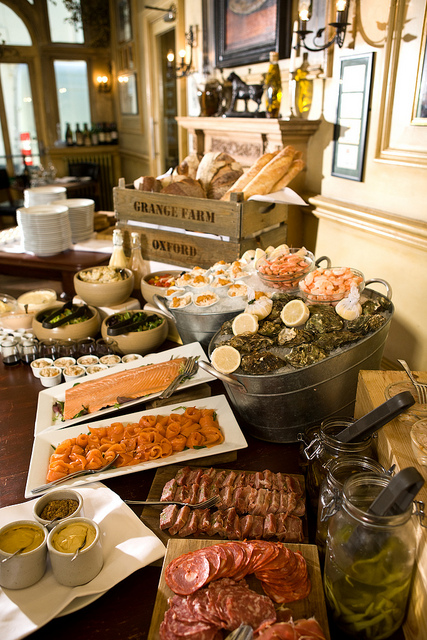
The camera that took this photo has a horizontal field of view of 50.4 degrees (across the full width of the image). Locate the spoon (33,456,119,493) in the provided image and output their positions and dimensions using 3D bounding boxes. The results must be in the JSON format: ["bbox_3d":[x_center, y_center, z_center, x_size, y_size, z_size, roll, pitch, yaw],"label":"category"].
[{"bbox_3d":[-0.287,0.328,0.960,0.142,0.021,0.025,-18,8,-22],"label":"spoon"}]

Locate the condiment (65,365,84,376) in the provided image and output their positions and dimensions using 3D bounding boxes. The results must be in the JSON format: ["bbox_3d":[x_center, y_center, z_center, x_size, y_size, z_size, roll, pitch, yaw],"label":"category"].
[{"bbox_3d":[-0.440,0.153,1.430,0.032,0.014,0.033,3,16,0],"label":"condiment"}]

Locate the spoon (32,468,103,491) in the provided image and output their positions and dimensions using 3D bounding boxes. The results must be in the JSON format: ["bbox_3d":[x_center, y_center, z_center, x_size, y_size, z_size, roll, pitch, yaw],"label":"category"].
[{"bbox_3d":[-0.304,0.332,0.945,0.132,0.019,0.020,-8,22,-28],"label":"spoon"}]

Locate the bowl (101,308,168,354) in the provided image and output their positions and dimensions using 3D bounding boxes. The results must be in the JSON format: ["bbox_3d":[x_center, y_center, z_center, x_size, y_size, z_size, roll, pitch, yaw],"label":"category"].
[{"bbox_3d":[-0.276,0.043,1.627,0.214,0.121,0.211,-3,24,1],"label":"bowl"}]

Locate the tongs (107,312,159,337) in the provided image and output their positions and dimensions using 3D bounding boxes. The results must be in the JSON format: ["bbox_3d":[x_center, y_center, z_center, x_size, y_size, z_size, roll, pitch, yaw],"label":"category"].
[{"bbox_3d":[-0.284,0.010,1.577,0.067,0.025,0.130,17,30,35],"label":"tongs"}]

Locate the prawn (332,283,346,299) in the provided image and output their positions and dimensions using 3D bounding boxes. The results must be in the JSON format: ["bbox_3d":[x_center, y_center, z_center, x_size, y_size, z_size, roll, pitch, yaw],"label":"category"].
[{"bbox_3d":[0.334,-0.074,1.196,0.020,0.029,0.046,17,31,38],"label":"prawn"}]

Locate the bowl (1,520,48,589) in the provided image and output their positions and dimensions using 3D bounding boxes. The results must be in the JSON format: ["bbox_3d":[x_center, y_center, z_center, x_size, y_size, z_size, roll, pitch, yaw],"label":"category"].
[{"bbox_3d":[-0.296,0.371,0.752,0.080,0.060,0.082,2,23,-1],"label":"bowl"}]

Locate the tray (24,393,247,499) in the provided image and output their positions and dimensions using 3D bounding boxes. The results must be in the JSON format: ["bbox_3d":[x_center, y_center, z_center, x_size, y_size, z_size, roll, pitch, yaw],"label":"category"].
[{"bbox_3d":[-0.174,0.284,1.065,0.366,0.040,0.210,-11,23,-9],"label":"tray"}]

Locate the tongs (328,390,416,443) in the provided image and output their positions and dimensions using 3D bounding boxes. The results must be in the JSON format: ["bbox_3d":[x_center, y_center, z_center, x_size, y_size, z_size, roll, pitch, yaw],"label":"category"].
[{"bbox_3d":[0.292,0.177,0.832,0.045,0.187,0.039,24,47,-35],"label":"tongs"}]

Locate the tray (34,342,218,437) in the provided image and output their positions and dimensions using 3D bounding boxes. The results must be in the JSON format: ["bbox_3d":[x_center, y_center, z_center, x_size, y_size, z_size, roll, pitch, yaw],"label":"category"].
[{"bbox_3d":[-0.260,0.197,1.308,0.417,0.044,0.237,-17,22,-9],"label":"tray"}]

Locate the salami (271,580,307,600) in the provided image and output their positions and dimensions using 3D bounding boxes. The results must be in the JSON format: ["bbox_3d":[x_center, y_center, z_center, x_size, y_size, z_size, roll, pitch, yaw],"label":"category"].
[{"bbox_3d":[0.117,0.394,0.664,0.027,0.005,0.024,-1,11,23],"label":"salami"}]

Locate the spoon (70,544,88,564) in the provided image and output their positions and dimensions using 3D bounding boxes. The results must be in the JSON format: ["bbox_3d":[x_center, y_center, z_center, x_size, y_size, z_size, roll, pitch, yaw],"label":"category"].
[{"bbox_3d":[-0.202,0.355,0.690,0.011,0.005,0.037,0,54,58],"label":"spoon"}]

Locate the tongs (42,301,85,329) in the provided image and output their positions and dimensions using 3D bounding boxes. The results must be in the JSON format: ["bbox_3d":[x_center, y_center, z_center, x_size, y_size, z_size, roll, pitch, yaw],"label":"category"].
[{"bbox_3d":[-0.541,-0.020,1.648,0.074,0.043,0.138,12,28,21],"label":"tongs"}]

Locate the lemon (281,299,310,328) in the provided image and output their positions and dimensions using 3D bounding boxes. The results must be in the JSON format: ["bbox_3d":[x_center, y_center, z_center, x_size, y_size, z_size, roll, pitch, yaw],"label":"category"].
[{"bbox_3d":[0.212,-0.017,1.178,0.059,0.054,0.080,-14,26,-22],"label":"lemon"}]

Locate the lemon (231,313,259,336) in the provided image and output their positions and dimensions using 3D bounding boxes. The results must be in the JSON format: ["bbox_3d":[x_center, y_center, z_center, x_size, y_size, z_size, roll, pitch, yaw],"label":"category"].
[{"bbox_3d":[0.080,0.013,1.191,0.078,0.047,0.073,3,25,14],"label":"lemon"}]

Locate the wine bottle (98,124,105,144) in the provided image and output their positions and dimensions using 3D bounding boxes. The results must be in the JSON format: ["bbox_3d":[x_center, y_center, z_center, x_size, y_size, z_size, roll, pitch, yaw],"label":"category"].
[{"bbox_3d":[-1.968,-3.224,7.968,0.136,0.244,0.065,-18,28,-28],"label":"wine bottle"}]

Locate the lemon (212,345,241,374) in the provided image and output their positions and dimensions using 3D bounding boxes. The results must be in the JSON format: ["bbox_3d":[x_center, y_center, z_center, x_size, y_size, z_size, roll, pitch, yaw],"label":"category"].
[{"bbox_3d":[0.030,0.091,1.077,0.053,0.041,0.081,-15,27,-24],"label":"lemon"}]

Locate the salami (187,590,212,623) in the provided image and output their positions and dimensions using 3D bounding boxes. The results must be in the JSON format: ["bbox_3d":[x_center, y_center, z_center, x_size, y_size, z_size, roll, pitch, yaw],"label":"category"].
[{"bbox_3d":[-0.018,0.381,0.603,0.032,0.004,0.026,11,16,23],"label":"salami"}]

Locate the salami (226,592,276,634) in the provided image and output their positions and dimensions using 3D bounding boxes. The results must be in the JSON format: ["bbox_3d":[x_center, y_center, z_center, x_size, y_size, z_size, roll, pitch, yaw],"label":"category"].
[{"bbox_3d":[0.050,0.379,0.597,0.045,0.014,0.048,4,8,17],"label":"salami"}]

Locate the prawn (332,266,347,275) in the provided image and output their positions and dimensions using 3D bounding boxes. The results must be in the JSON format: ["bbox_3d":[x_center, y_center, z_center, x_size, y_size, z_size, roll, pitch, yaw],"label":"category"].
[{"bbox_3d":[0.348,-0.137,1.268,0.026,0.006,0.027,9,33,45],"label":"prawn"}]

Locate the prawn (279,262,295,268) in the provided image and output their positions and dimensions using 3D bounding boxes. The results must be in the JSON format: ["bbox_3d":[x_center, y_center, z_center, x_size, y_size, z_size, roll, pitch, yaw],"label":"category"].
[{"bbox_3d":[0.220,-0.167,1.361,0.042,0.011,0.026,5,26,18],"label":"prawn"}]

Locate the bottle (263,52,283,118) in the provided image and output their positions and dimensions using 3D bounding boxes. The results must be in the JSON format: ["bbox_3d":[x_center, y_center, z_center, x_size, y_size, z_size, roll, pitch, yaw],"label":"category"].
[{"bbox_3d":[0.389,-1.537,2.973,0.102,0.382,0.229,-1,25,7],"label":"bottle"}]

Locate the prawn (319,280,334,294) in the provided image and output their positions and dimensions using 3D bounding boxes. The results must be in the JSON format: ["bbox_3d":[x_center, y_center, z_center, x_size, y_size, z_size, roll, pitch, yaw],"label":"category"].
[{"bbox_3d":[0.299,-0.088,1.202,0.038,0.026,0.031,3,25,13],"label":"prawn"}]

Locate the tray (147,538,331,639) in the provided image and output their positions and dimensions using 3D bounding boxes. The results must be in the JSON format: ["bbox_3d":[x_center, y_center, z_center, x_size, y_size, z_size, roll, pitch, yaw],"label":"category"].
[{"bbox_3d":[0.064,0.389,0.673,0.138,0.008,0.151,2,19,4],"label":"tray"}]

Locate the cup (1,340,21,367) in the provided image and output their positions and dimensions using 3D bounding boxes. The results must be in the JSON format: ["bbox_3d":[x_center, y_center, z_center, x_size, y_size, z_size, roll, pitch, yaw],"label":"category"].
[{"bbox_3d":[-0.702,0.116,1.570,0.057,0.089,0.089,-14,29,-32],"label":"cup"}]

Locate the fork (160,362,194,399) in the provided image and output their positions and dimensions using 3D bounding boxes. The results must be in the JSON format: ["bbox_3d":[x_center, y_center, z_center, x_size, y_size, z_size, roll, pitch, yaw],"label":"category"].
[{"bbox_3d":[-0.099,0.171,1.295,0.032,0.033,0.226,6,29,11],"label":"fork"}]

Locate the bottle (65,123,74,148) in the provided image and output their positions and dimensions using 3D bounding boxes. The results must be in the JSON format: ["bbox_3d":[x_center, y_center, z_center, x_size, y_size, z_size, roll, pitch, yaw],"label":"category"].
[{"bbox_3d":[-2.518,-3.194,7.864,0.157,0.360,0.585,-11,25,-14],"label":"bottle"}]

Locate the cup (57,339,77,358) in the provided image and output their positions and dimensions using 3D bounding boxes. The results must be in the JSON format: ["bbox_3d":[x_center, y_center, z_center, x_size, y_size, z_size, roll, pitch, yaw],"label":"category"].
[{"bbox_3d":[-0.508,0.096,1.570,0.066,0.040,0.080,-10,25,-14],"label":"cup"}]

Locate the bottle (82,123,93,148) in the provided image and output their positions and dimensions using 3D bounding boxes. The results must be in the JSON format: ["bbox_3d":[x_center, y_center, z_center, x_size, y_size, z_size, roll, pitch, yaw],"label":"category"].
[{"bbox_3d":[-2.178,-3.117,7.824,0.144,0.272,0.108,-7,25,-7],"label":"bottle"}]

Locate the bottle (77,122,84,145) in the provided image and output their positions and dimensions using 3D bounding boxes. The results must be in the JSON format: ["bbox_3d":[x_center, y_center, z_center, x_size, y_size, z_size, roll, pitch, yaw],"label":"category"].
[{"bbox_3d":[-2.346,-3.278,7.965,0.137,0.348,0.509,-10,25,-12],"label":"bottle"}]

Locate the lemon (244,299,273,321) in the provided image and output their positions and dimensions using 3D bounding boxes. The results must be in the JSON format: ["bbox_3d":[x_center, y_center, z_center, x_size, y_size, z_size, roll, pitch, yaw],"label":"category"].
[{"bbox_3d":[0.126,-0.031,1.213,0.055,0.027,0.063,-20,12,-2],"label":"lemon"}]

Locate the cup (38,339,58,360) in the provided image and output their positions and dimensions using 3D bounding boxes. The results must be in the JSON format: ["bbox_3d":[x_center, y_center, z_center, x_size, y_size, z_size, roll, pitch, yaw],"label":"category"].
[{"bbox_3d":[-0.564,0.099,1.548,0.066,0.065,0.065,2,16,-1],"label":"cup"}]

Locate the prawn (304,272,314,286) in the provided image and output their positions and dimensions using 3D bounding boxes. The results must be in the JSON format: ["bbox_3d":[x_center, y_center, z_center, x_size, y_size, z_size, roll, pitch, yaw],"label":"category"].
[{"bbox_3d":[0.265,-0.114,1.262,0.010,0.031,0.032,35,5,-14],"label":"prawn"}]

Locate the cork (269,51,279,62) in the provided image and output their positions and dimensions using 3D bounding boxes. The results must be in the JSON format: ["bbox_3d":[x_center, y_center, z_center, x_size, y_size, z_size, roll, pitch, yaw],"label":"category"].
[{"bbox_3d":[0.398,-1.711,2.961,0.056,0.057,0.106,-1,24,5],"label":"cork"}]

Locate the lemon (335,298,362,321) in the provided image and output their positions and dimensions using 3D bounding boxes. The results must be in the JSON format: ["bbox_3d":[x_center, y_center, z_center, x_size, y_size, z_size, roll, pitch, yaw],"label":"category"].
[{"bbox_3d":[0.331,-0.026,1.132,0.053,0.053,0.054,14,23,-2],"label":"lemon"}]

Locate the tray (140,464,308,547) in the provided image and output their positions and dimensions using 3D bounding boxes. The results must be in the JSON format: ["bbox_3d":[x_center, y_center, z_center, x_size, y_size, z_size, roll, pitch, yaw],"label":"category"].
[{"bbox_3d":[0.056,0.463,1.133,0.360,0.541,0.030,-3,50,9],"label":"tray"}]

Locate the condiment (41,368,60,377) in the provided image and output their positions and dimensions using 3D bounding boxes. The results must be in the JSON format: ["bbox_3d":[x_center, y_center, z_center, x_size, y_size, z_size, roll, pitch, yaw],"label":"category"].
[{"bbox_3d":[-0.518,0.164,1.432,0.029,0.013,0.031,1,16,0],"label":"condiment"}]

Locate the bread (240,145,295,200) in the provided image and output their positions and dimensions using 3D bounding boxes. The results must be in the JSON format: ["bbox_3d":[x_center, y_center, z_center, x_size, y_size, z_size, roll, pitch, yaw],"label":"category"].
[{"bbox_3d":[0.237,-0.648,1.985,0.112,0.182,0.355,10,28,28],"label":"bread"}]

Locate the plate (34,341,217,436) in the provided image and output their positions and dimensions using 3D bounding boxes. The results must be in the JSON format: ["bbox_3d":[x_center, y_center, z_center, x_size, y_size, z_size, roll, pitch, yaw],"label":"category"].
[{"bbox_3d":[-0.254,0.200,1.285,0.409,0.044,0.235,-16,21,-7],"label":"plate"}]

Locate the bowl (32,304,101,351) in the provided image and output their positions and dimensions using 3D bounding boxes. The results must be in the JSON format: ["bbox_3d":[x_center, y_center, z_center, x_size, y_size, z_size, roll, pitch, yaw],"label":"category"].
[{"bbox_3d":[-0.527,0.012,1.690,0.175,0.102,0.187,1,29,-1],"label":"bowl"}]

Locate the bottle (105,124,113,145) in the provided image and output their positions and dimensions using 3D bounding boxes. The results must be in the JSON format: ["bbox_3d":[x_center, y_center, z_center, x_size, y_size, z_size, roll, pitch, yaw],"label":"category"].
[{"bbox_3d":[-1.854,-3.259,8.038,0.100,0.276,0.141,8,27,24],"label":"bottle"}]

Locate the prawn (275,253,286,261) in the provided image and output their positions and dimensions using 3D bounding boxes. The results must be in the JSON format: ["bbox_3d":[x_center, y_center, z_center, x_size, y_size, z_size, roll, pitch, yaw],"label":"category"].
[{"bbox_3d":[0.214,-0.202,1.454,0.031,0.007,0.031,-33,2,-3],"label":"prawn"}]

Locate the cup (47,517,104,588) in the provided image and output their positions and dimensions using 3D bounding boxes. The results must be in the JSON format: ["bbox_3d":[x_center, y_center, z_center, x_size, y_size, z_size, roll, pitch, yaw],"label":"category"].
[{"bbox_3d":[-0.224,0.371,0.729,0.081,0.061,0.082,-1,17,0],"label":"cup"}]

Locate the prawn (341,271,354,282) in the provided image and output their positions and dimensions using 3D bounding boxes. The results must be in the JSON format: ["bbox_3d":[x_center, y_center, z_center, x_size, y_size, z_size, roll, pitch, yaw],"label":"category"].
[{"bbox_3d":[0.368,-0.118,1.247,0.027,0.006,0.029,-9,23,18],"label":"prawn"}]

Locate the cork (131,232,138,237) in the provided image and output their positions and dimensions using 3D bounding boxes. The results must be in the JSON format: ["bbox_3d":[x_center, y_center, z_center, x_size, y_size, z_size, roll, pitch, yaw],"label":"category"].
[{"bbox_3d":[-0.349,-0.383,2.008,0.031,0.019,0.031,2,18,3],"label":"cork"}]

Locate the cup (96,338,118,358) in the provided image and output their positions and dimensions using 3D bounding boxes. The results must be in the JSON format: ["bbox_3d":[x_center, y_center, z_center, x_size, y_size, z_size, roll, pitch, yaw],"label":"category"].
[{"bbox_3d":[-0.360,0.092,1.553,0.073,0.072,0.056,0,11,-3],"label":"cup"}]

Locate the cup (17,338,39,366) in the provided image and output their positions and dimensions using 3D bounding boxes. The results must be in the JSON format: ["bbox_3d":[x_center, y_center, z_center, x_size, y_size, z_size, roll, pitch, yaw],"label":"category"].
[{"bbox_3d":[-0.645,0.109,1.631,0.068,0.091,0.097,19,18,32],"label":"cup"}]

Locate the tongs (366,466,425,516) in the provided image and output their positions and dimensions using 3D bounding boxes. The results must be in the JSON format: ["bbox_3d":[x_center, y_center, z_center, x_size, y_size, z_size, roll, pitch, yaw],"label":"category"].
[{"bbox_3d":[0.218,0.212,0.548,0.055,0.092,0.028,6,26,21],"label":"tongs"}]

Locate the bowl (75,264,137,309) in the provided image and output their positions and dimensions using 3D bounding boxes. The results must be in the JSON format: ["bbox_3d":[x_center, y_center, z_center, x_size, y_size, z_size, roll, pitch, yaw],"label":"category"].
[{"bbox_3d":[-0.452,-0.135,1.912,0.233,0.140,0.202,-10,25,-15],"label":"bowl"}]

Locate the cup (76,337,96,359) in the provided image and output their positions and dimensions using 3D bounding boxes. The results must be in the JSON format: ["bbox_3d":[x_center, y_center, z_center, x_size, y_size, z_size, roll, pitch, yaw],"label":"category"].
[{"bbox_3d":[-0.434,0.091,1.552,0.062,0.061,0.062,1,22,-1],"label":"cup"}]

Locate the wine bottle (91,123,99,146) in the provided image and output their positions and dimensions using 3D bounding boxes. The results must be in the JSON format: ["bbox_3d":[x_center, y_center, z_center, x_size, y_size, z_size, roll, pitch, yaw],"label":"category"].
[{"bbox_3d":[-2.053,-3.180,7.908,0.076,0.258,0.161,9,27,26],"label":"wine bottle"}]

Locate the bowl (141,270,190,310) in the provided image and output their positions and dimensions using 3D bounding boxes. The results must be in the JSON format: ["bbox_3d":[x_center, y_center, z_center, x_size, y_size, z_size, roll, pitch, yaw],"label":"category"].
[{"bbox_3d":[-0.208,-0.128,1.836,0.161,0.115,0.291,0,25,9],"label":"bowl"}]

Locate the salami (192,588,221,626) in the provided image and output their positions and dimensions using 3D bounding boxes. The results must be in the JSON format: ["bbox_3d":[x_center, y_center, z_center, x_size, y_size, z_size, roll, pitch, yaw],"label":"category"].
[{"bbox_3d":[-0.009,0.378,0.597,0.032,0.005,0.027,7,17,21],"label":"salami"}]

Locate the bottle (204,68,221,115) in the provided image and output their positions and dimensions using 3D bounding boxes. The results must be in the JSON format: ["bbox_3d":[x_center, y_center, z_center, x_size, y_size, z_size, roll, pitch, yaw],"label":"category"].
[{"bbox_3d":[-0.001,-1.829,3.716,0.182,0.266,0.061,18,32,39],"label":"bottle"}]

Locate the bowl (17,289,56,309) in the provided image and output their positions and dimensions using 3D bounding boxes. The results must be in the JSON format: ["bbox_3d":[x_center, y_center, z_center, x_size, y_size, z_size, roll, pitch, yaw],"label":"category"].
[{"bbox_3d":[-0.734,-0.089,1.900,0.110,0.050,0.111,-3,27,2],"label":"bowl"}]

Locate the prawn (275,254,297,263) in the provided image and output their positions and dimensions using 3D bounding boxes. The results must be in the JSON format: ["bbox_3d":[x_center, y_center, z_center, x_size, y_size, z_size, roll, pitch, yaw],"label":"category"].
[{"bbox_3d":[0.222,-0.192,1.402,0.032,0.008,0.029,-33,22,-11],"label":"prawn"}]

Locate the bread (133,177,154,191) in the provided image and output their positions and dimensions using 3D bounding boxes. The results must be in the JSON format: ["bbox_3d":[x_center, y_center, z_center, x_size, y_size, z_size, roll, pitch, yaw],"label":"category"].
[{"bbox_3d":[-0.321,-0.646,2.159,0.085,0.085,0.050,-2,61,8],"label":"bread"}]

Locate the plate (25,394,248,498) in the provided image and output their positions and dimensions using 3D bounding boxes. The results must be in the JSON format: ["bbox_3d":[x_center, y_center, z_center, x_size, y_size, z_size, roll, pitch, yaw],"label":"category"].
[{"bbox_3d":[-0.168,0.282,1.055,0.356,0.039,0.205,-8,25,-12],"label":"plate"}]

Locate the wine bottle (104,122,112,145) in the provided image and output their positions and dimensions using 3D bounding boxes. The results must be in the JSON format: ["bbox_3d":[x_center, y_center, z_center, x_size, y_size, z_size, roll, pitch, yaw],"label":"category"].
[{"bbox_3d":[-1.860,-3.243,8.017,0.070,0.266,0.150,8,27,26],"label":"wine bottle"}]
